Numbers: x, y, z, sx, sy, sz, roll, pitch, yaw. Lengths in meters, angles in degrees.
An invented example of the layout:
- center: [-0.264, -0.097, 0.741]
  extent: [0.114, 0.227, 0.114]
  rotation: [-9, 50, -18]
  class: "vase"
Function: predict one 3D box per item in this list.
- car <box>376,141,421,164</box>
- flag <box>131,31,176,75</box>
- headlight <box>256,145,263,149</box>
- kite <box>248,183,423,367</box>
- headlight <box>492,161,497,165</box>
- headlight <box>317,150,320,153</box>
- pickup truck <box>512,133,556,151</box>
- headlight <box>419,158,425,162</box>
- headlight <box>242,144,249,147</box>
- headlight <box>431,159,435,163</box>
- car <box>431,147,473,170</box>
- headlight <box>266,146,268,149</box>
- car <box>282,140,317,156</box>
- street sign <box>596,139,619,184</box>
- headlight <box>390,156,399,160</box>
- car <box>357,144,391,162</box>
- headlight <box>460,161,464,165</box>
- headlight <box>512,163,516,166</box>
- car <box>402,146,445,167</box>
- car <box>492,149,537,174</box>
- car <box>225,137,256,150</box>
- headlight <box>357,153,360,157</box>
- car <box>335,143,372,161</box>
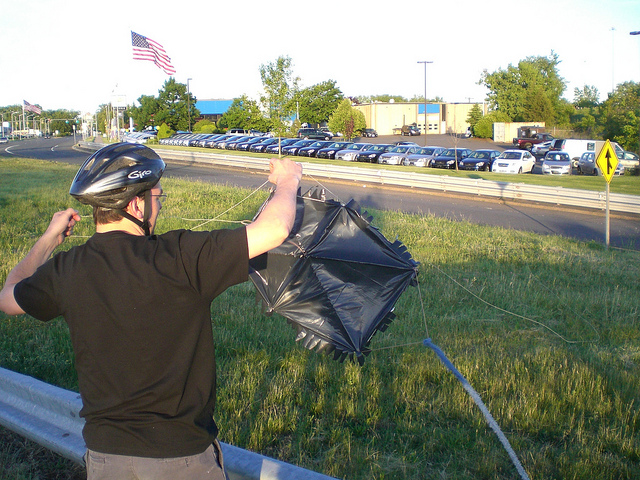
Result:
- center: [5.021, -5.141, 39.774]
  extent: [1.304, 1.317, 3.182]
  rotation: [7, 17, 32]
  class: "car"
- center: [-7.128, -8.589, 31.132]
  extent: [1.690, 1.900, 5.779]
  rotation: [0, 16, -10]
  class: "flag"
- center: [-3.349, -6.286, 45.381]
  extent: [0.318, 0.213, 0.633]
  rotation: [-1, 17, -13]
  class: "headlight"
- center: [0.304, 0.065, 8.384]
  extent: [2.201, 1.050, 3.080]
  rotation: [19, 21, 12]
  class: "kite"
- center: [9.093, -3.983, 35.016]
  extent: [0.084, 0.125, 0.352]
  rotation: [-2, 17, -15]
  class: "headlight"
- center: [0.390, -5.602, 42.455]
  extent: [0.164, 0.226, 0.099]
  rotation: [6, 2, 18]
  class: "headlight"
- center: [18.769, -8.718, 59.751]
  extent: [3.030, 1.453, 3.685]
  rotation: [9, 17, 21]
  class: "pickup truck"
- center: [5.937, -4.529, 37.998]
  extent: [0.289, 0.193, 0.162]
  rotation: [1, 13, -8]
  class: "headlight"
- center: [-4.467, -6.637, 47.198]
  extent: [0.147, 0.228, 0.540]
  rotation: [-10, 20, -43]
  class: "headlight"
- center: [6.491, -4.436, 37.691]
  extent: [0.059, 0.178, 0.284]
  rotation: [-2, 16, -15]
  class: "headlight"
- center: [7.533, -4.677, 38.112]
  extent: [1.012, 1.008, 2.508]
  rotation: [4, 15, 30]
  class: "car"
- center: [-2.898, -6.206, 44.979]
  extent: [0.104, 0.148, 0.029]
  rotation: [-2, -9, 6]
  class: "headlight"
- center: [-0.956, -6.329, 45.470]
  extent: [0.979, 0.958, 2.350]
  rotation: [4, 12, 32]
  class: "car"
- center: [7.245, -2.040, 17.216]
  extent: [0.529, 1.246, 0.056]
  rotation: [11, 42, 37]
  class: "street sign"
- center: [4.505, -4.683, 38.342]
  extent: [0.506, 0.178, 0.176]
  rotation: [-1, 14, -14]
  class: "headlight"
- center: [3.683, -5.371, 40.811]
  extent: [0.877, 0.940, 2.338]
  rotation: [0, 16, 31]
  class: "car"
- center: [7.734, -4.173, 36.417]
  extent: [0.150, 0.207, 0.040]
  rotation: [3, -2, 27]
  class: "headlight"
- center: [9.904, -3.884, 34.507]
  extent: [0.159, 0.130, 0.057]
  rotation: [-3, 13, -19]
  class: "headlight"
- center: [6.350, -4.894, 38.977]
  extent: [1.037, 1.036, 2.590]
  rotation: [8, 22, 31]
  class: "car"
- center: [10.223, -4.125, 35.288]
  extent: [1.207, 1.163, 2.050]
  rotation: [7, 16, 35]
  class: "car"
- center: [-5.056, -7.129, 48.964]
  extent: [0.766, 0.750, 1.849]
  rotation: [7, 19, 29]
  class: "car"
- center: [2.676, -5.120, 40.473]
  extent: [0.051, 0.242, 0.221]
  rotation: [1, 7, -3]
  class: "headlight"
- center: [2.503, -5.578, 41.821]
  extent: [0.945, 0.930, 2.334]
  rotation: [7, 20, 30]
  class: "car"
